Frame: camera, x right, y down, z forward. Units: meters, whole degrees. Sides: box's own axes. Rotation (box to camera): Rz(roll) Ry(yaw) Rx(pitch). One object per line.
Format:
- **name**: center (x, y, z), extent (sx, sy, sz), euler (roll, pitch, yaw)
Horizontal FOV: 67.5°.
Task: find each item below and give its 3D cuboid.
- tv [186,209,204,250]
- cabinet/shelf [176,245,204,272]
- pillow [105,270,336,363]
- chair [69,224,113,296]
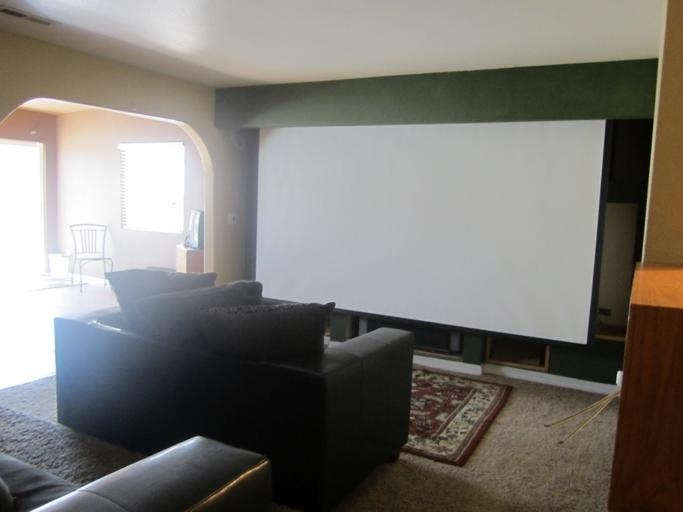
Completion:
- **tv**: center (-1.851, -0.340, 6.472), extent (0.162, 0.500, 0.513), euler (-3, 9, -28)
- **cabinet/shelf**: center (-1.804, 0.023, 6.133), extent (0.104, 0.270, 0.310), euler (-1, 3, -38)
- **pillow**: center (-0.691, 0.311, 2.841), extent (1.297, 0.332, 0.466), euler (7, 11, 27)
- **chair**: center (-4.121, -0.077, 8.358), extent (0.600, 0.934, 1.526), euler (-5, 11, -33)
